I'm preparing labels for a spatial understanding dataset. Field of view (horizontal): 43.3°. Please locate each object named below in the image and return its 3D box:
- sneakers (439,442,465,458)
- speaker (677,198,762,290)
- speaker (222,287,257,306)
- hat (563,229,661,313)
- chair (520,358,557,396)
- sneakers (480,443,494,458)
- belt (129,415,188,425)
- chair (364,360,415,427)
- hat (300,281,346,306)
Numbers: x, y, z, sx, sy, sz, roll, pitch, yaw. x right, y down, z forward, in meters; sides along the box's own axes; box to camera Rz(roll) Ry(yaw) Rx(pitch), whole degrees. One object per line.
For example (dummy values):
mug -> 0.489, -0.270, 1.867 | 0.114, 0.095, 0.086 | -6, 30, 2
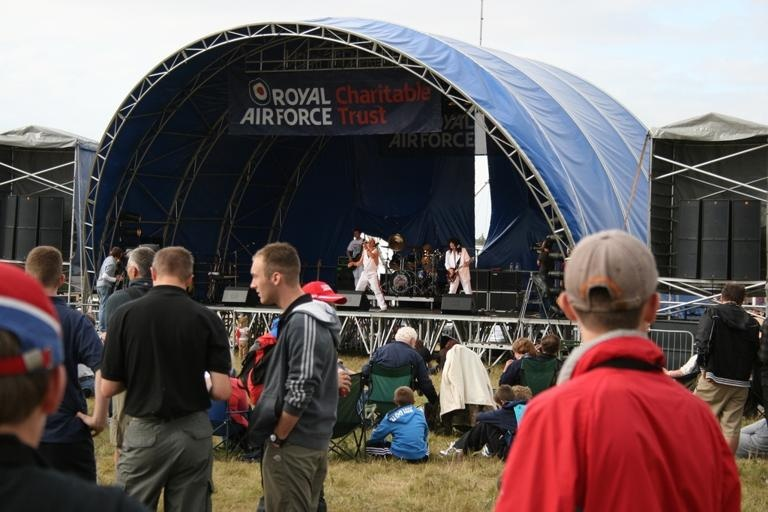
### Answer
sneakers -> 0.897, 2.544, 12.599 | 0.331, 0.182, 0.141 | 0, -6, 4
speaker -> 5.122, -0.251, 15.101 | 1.397, 1.595, 1.094 | -1, -4, 25
speaker -> -3.383, 0.964, 23.099 | 0.592, 0.427, 0.490 | 0, 4, 33
hat -> 1.809, 0.071, 7.682 | 0.735, 0.592, 1.066 | -2, 15, 23
chair -> 2.191, 1.538, 13.631 | 0.522, 0.406, 0.761 | 5, -40, 10
sneakers -> 1.323, 2.528, 12.444 | 0.104, 0.135, 0.141 | 2, 0, -4
belt -> -2.108, 1.549, 9.063 | 0.586, 0.120, 0.105 | 1, -4, 3
chair -> 0.208, 1.912, 13.451 | 0.624, 1.082, 0.725 | 2, -2, 5
hat -> -0.623, 0.465, 10.285 | 0.406, 0.175, 0.279 | 10, 7, -1
